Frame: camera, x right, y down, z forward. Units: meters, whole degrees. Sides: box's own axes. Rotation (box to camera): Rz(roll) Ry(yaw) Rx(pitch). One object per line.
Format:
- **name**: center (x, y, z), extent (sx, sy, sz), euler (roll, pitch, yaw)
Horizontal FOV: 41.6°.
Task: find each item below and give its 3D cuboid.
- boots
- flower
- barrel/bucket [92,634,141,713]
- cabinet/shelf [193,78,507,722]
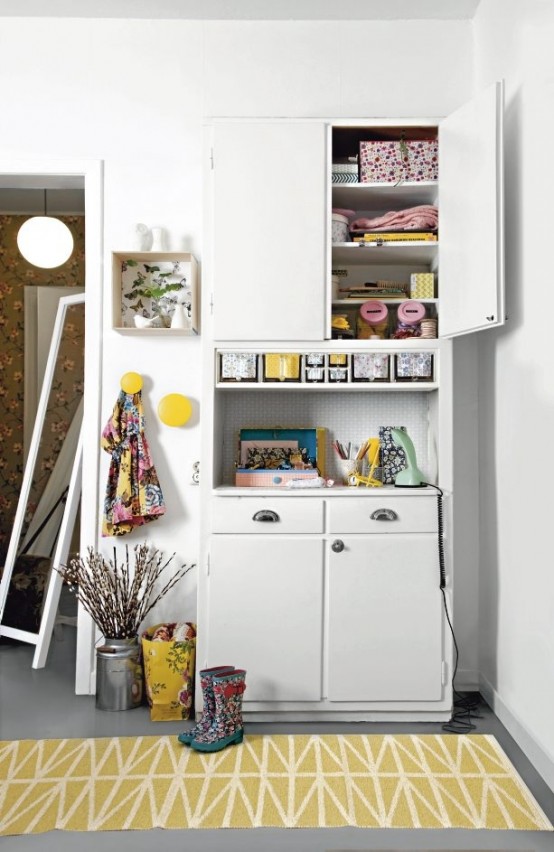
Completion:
- **boots**: center (-0.206, 0.991, 2.573), extent (0.247, 0.247, 0.194), euler (3, -9, -26)
- **flower**: center (-0.614, 0.695, 2.992), extent (0.545, 0.408, 0.311), euler (0, 3, -6)
- **barrel/bucket**: center (-0.592, 0.961, 2.859), extent (0.227, 0.252, 0.246), euler (0, -1, 0)
- **cabinet/shelf**: center (0.292, -0.070, 2.909), extent (1.138, 2.306, 0.679), euler (1, 3, 10)
